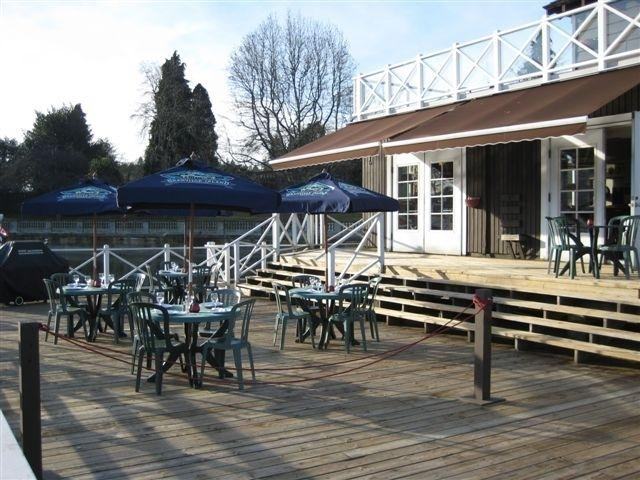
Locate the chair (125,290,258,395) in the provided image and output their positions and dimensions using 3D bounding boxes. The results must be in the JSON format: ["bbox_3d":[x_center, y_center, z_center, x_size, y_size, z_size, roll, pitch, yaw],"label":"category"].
[{"bbox_3d":[-1.766,1.387,8.665,1.377,0.845,1.417,0,0,40],"label":"chair"}]

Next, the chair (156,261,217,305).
[{"bbox_3d":[-2.949,0.915,13.922,1.216,0.763,1.159,0,0,-32],"label":"chair"}]

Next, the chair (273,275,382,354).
[{"bbox_3d":[0.268,1.221,10.873,1.341,1.098,1.265,1,6,13],"label":"chair"}]

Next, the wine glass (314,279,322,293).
[{"bbox_3d":[-0.060,0.791,11.272,0.175,0.166,0.139,0,-5,5],"label":"wine glass"}]
